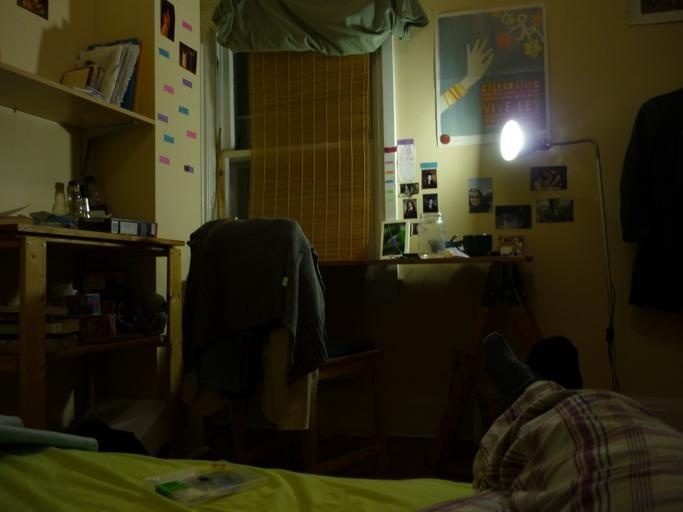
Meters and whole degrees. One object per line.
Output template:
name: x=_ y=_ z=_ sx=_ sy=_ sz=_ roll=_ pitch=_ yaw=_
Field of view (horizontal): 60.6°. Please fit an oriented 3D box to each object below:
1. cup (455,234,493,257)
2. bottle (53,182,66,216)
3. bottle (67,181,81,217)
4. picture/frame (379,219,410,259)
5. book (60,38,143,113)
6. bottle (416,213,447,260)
cup: x=0.691 y=-0.066 z=3.128 sx=0.161 sy=0.110 sz=0.248 roll=-3 pitch=7 yaw=-39
bottle: x=-1.286 y=-0.264 z=2.665 sx=0.058 sy=0.141 sz=0.069 roll=-1 pitch=4 yaw=-29
bottle: x=-1.226 y=-0.264 z=2.665 sx=0.052 sy=0.154 sz=0.037 roll=0 pitch=3 yaw=-20
picture/frame: x=0.298 y=-0.087 z=3.308 sx=0.162 sy=0.263 sz=0.030 roll=-3 pitch=-32 yaw=13
book: x=-1.118 y=-0.883 z=2.780 sx=0.295 sy=0.360 sz=0.097 roll=2 pitch=-1 yaw=26
bottle: x=0.514 y=-0.142 z=3.294 sx=0.157 sy=0.286 sz=0.174 roll=-6 pitch=23 yaw=4
